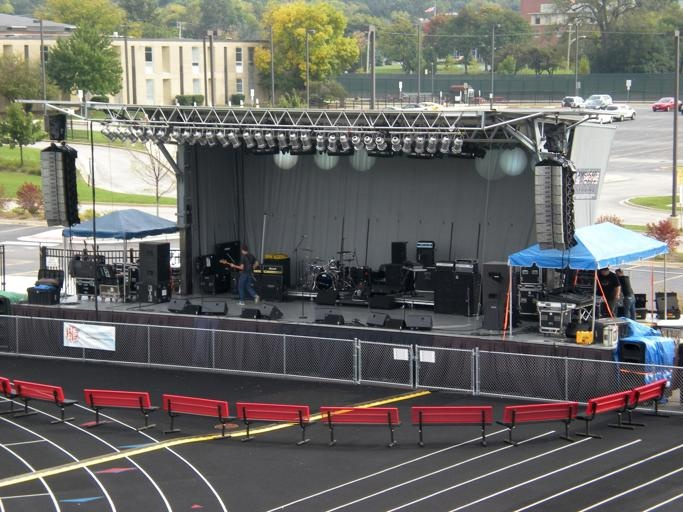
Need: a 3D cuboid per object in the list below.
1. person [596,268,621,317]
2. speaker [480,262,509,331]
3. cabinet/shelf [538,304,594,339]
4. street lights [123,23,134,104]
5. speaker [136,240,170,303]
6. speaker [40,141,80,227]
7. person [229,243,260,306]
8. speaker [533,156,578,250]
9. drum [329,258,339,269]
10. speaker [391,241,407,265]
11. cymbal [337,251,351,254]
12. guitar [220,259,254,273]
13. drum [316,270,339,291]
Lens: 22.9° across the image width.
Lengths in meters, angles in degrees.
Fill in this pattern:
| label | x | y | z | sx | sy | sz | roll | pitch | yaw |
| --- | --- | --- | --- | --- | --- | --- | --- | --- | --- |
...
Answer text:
| label | x | y | z | sx | sy | sz | roll | pitch | yaw |
| --- | --- | --- | --- | --- | --- | --- | --- | --- | --- |
| person | 10.851 | 1.437 | 69.308 | 0.893 | 1.999 | 1.138 | 0 | 1 | 8 |
| speaker | 6.280 | 1.645 | 69.699 | 1.073 | 2.848 | 0.522 | 0 | 1 | 6 |
| cabinet/shelf | 8.857 | 2.534 | 68.577 | 2.226 | 1.296 | 1.321 | 0 | 10 | 25 |
| street lights | -16.681 | -14.729 | 131.411 | 0.538 | 5.019 | 0.756 | 1 | 1 | 15 |
| speaker | -8.148 | 0.652 | 73.527 | 1.388 | 2.608 | 0.512 | 0 | 1 | -9 |
| speaker | -12.107 | -3.174 | 72.701 | 1.552 | 3.603 | 0.931 | 0 | 1 | -7 |
| person | -4.216 | 0.788 | 73.597 | 1.121 | 2.689 | 0.913 | 11 | 11 | 34 |
| speaker | 8.474 | -2.209 | 68.030 | 1.360 | 3.869 | 0.886 | 3 | 9 | 32 |
| drum | -0.344 | 0.304 | 74.034 | 0.425 | 0.547 | 0.420 | 2 | -1 | 0 |
| speaker | 2.469 | -0.225 | 73.693 | 0.605 | 0.912 | 0.365 | 0 | 1 | -14 |
| cymbal | 0.114 | -0.226 | 74.901 | 0.560 | 0.213 | 0.818 | 0 | 1 | 0 |
| guitar | -4.635 | 0.255 | 74.179 | 1.588 | 0.332 | 0.609 | 11 | -7 | 44 |
| drum | -0.710 | 0.983 | 73.463 | 0.985 | 0.799 | 0.371 | 0 | 1 | 7 |
